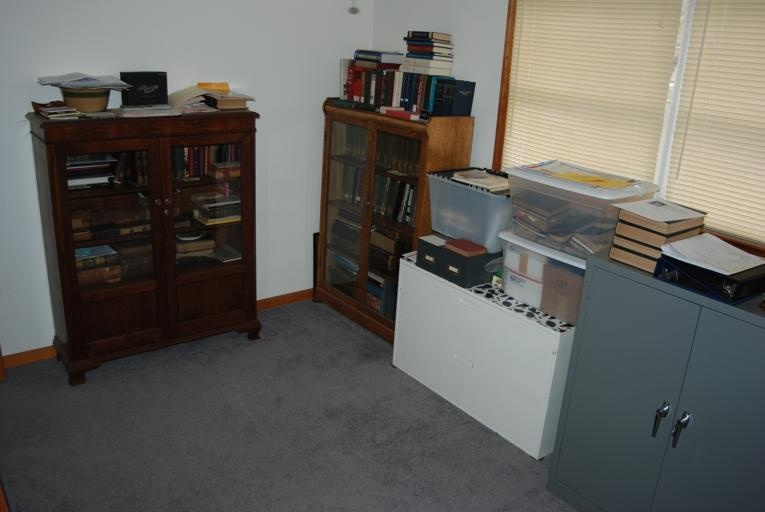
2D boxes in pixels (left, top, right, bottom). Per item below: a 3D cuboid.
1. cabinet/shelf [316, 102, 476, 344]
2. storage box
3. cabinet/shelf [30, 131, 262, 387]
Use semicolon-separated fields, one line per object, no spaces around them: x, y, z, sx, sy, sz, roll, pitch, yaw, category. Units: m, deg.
0.137;-0.282;4.266;0.738;1.990;1.442;-8;25;-32;cabinet/shelf
1.074;-0.235;3.855;0.926;0.780;1.354;-10;22;-35;storage box
-1.740;0.005;3.956;1.616;1.747;0.715;-11;23;-32;cabinet/shelf
